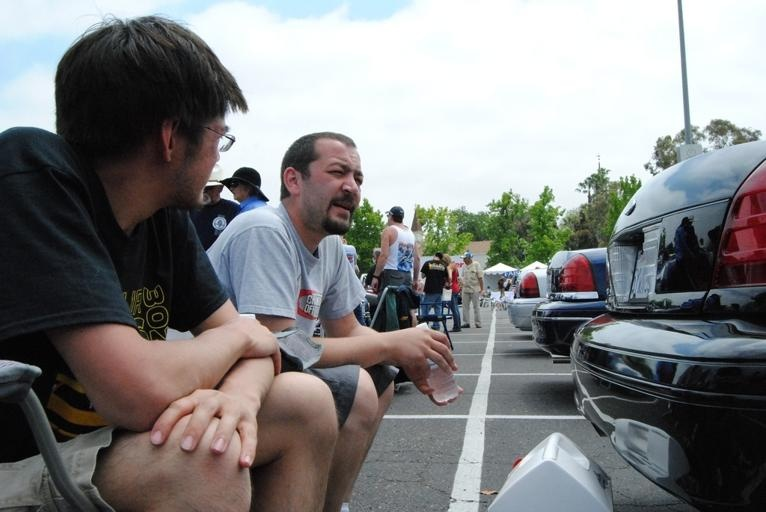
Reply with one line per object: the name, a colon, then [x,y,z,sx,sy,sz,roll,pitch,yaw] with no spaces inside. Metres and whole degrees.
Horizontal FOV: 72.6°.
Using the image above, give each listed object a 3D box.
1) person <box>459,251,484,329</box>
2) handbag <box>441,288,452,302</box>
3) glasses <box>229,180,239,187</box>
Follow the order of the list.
person: [2.501,0.942,14.792,0.603,1.683,1.391,-2,-2,8]
handbag: [1.395,0.871,11.653,0.263,0.370,0.130,9,-6,-16]
glasses: [-1.825,-0.893,6.369,0.101,0.069,0.053,-40,-17,21]
